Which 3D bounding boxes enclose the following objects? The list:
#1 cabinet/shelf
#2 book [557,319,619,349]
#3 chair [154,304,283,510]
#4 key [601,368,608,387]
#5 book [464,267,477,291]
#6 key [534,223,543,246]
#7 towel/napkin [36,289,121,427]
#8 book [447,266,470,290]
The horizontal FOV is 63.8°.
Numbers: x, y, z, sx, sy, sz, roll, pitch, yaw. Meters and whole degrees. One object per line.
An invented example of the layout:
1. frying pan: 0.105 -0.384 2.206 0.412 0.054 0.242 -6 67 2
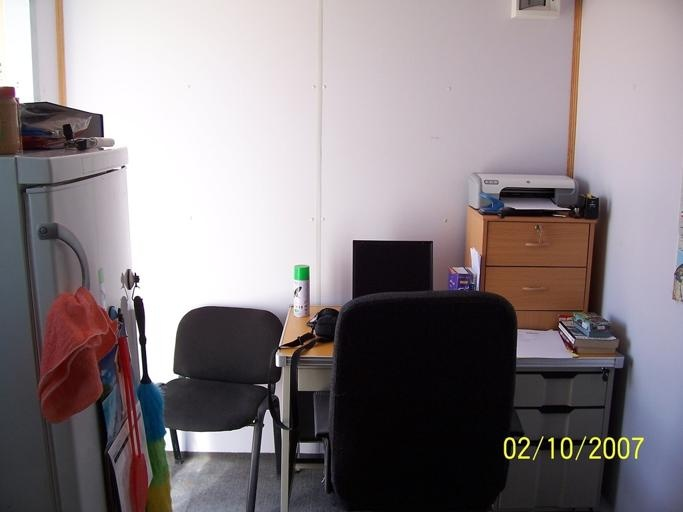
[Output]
1. cabinet/shelf: 0.977 0.029 3.086 0.760 0.850 0.538 0 7 0
2. book: 1.197 0.379 2.659 0.152 0.043 0.155 1 14 -4
3. chair: -0.650 0.743 2.880 0.588 0.876 0.552 2 9 10
4. key: 1.270 0.574 2.645 0.030 0.070 0.010 1 8 3
5. book: 0.654 0.121 2.789 0.062 0.122 0.086 -3 11 -4
6. key: 1.002 -0.108 2.791 0.042 0.108 0.014 3 9 15
7. towel/napkin: -0.698 0.292 1.571 0.125 0.322 0.273 1 8 -2
8. book: 0.612 0.115 2.865 0.109 0.158 0.083 -1 7 -2
